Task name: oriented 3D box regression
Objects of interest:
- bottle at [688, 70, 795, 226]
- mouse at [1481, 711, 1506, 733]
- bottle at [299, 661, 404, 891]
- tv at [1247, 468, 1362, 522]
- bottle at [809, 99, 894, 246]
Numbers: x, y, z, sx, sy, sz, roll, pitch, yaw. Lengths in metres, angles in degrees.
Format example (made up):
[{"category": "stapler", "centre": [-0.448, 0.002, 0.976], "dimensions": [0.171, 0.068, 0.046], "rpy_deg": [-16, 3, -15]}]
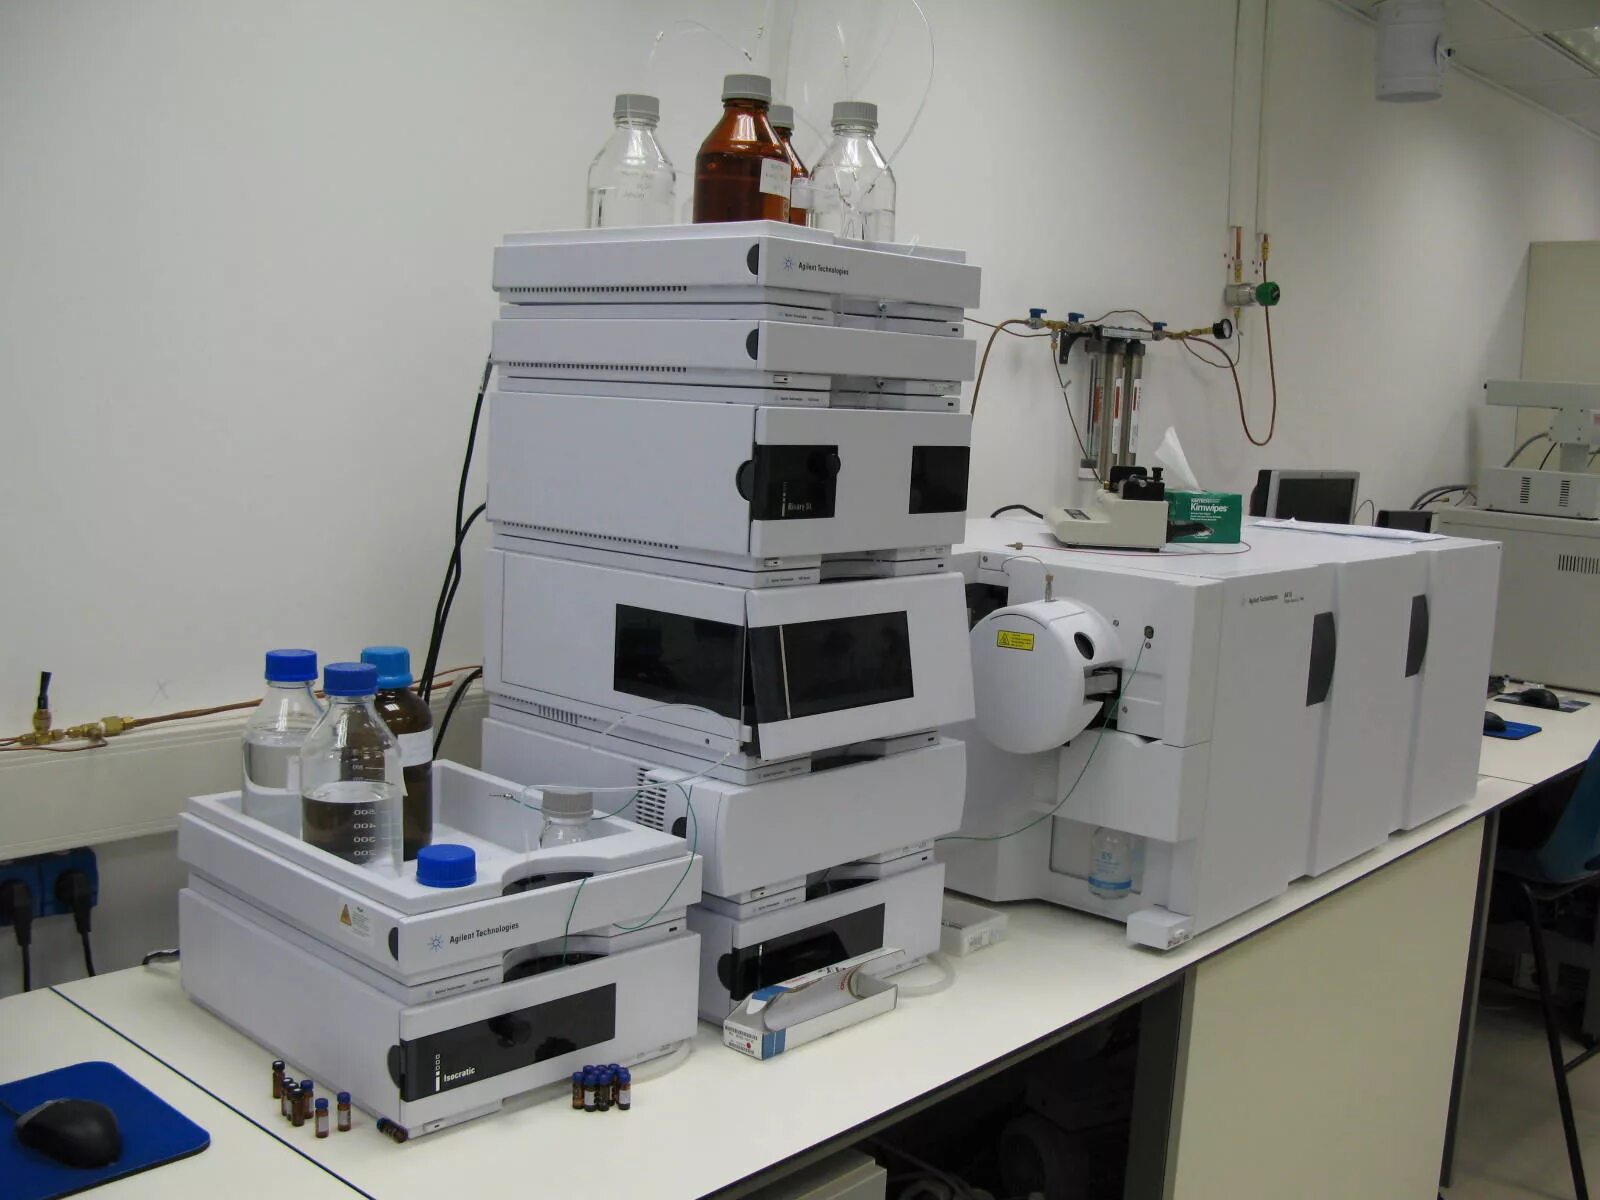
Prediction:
[{"category": "bottle", "centre": [-0.071, -0.611, 1.745], "dimensions": [0.135, 0.199, 0.204], "rpy_deg": [1, 15, -9]}, {"category": "mouse", "centre": [1.749, 0.301, 3.262], "dimensions": [0.088, 0.038, 0.118], "rpy_deg": [3, 4, 33]}, {"category": "bottle", "centre": [-0.567, 0.204, 1.626], "dimensions": [0.116, 0.233, 0.152], "rpy_deg": [-3, 15, -22]}, {"category": "tv", "centre": [1.525, -0.320, 3.909], "dimensions": [0.455, 0.162, 0.175], "rpy_deg": [-9, 19, -40]}, {"category": "bottle", "centre": [0.088, -0.674, 2.042], "dimensions": [0.118, 0.195, 0.259], "rpy_deg": [5, 15, 9]}]
